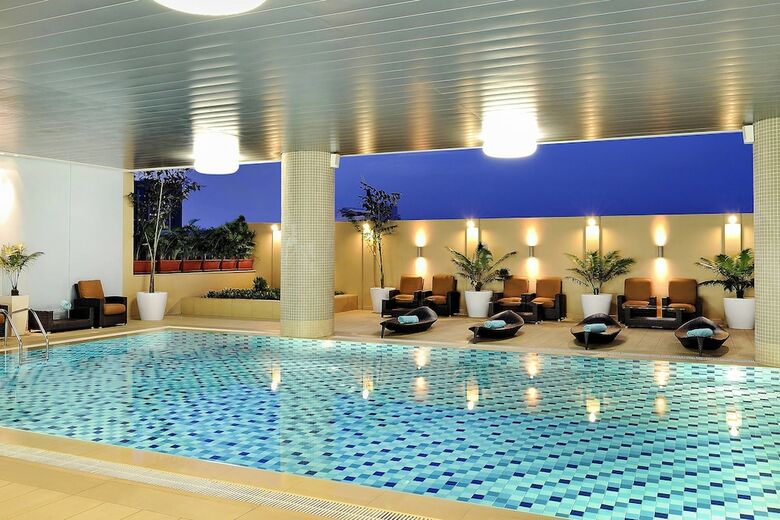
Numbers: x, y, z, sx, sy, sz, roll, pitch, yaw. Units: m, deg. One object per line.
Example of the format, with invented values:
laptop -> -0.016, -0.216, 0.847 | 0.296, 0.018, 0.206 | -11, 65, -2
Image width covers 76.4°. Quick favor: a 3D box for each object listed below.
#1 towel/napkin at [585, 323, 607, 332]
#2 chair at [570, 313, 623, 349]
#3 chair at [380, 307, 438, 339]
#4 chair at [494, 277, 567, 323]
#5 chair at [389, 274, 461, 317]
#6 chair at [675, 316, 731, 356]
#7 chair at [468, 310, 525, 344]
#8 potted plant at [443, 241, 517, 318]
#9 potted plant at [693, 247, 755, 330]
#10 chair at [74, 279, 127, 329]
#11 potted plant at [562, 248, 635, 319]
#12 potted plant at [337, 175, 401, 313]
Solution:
towel/napkin -> 3.802, 1.211, 9.198 | 0.270, 0.078, 0.248 | 1, -4, -27
chair -> 3.968, 1.351, 9.610 | 0.816, 0.339, 1.159 | 4, 11, 38
chair -> 0.484, 1.321, 10.738 | 0.668, 0.311, 0.923 | -3, 0, 34
chair -> 3.710, 1.002, 13.098 | 1.809, 0.950, 1.335 | -2, -4, 28
chair -> 1.007, 0.995, 13.840 | 1.988, 1.041, 1.264 | -2, -5, 25
chair -> 5.575, 1.338, 8.894 | 0.776, 0.372, 0.896 | 2, 13, 35
chair -> 2.220, 1.369, 10.212 | 0.618, 0.312, 1.030 | 1, 0, 36
potted plant -> 2.720, 0.506, 14.629 | 2.390, 1.674, 1.909 | 4, -10, -36
potted plant -> 8.209, 0.658, 11.909 | 0.882, 1.850, 1.289 | 1, -1, 18
chair -> -7.023, 1.018, 11.996 | 1.119, 0.863, 0.828 | 8, 4, 11
potted plant -> 5.586, 0.657, 13.884 | 2.174, 1.714, 2.095 | 0, -3, 33
potted plant -> -0.525, -0.889, 15.547 | 1.617, 3.349, 1.494 | 1, 0, -16
